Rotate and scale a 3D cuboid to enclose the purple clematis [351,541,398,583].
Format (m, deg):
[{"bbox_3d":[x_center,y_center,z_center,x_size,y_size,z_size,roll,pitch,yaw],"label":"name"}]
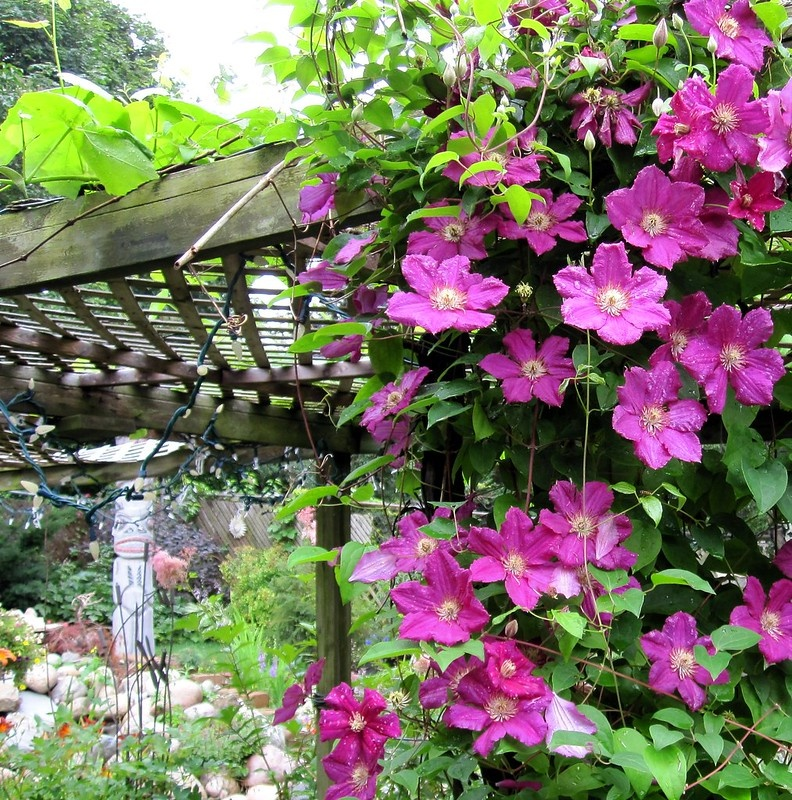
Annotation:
[{"bbox_3d":[-0.027,0.191,0.872,0.040,0.040,0.048,-7,-8,20],"label":"purple clematis"}]

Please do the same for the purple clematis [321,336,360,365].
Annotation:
[{"bbox_3d":[-0.072,-0.070,1.043,0.055,0.031,0.018,-7,40,12],"label":"purple clematis"}]

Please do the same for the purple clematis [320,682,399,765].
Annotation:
[{"bbox_3d":[-0.049,0.384,0.913,0.089,0.093,0.082,-3,-7,-13],"label":"purple clematis"}]

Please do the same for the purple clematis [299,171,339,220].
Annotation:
[{"bbox_3d":[-0.117,-0.295,1.109,0.056,0.059,0.098,-4,-7,-7],"label":"purple clematis"}]

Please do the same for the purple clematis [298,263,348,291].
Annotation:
[{"bbox_3d":[-0.105,-0.178,1.066,0.070,0.045,0.044,-5,-7,3],"label":"purple clematis"}]
